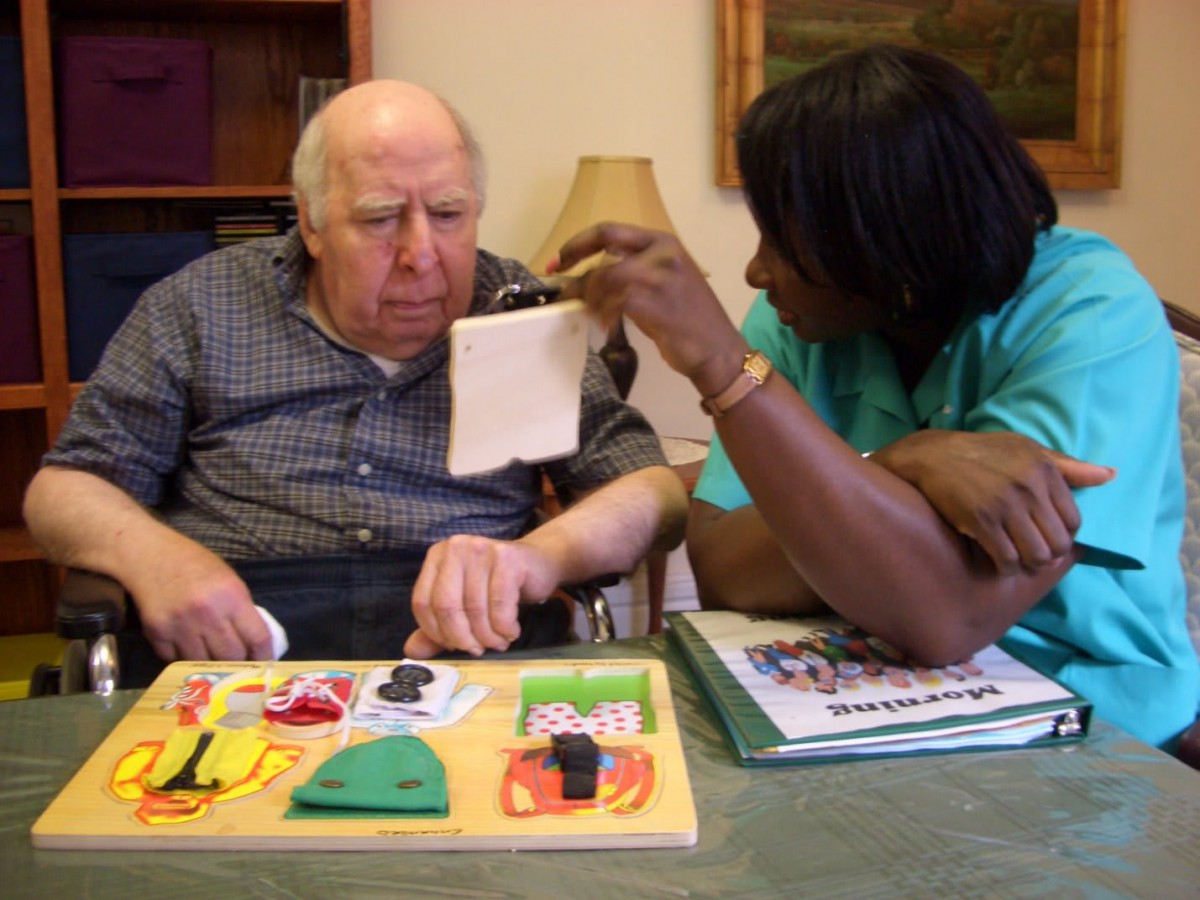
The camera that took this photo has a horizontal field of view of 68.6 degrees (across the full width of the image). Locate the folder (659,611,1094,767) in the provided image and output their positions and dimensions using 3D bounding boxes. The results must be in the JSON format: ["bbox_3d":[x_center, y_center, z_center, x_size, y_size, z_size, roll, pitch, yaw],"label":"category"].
[{"bbox_3d":[0.255,0.218,1.004,0.415,0.070,0.496,0,7,-16],"label":"folder"}]

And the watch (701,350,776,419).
[{"bbox_3d":[0.152,-0.073,0.966,0.058,0.034,0.058,-36,-10,3],"label":"watch"}]

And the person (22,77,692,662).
[{"bbox_3d":[-0.458,-0.058,1.621,1.229,1.068,0.828,-1,5,-17],"label":"person"}]

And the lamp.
[{"bbox_3d":[0.044,-0.499,2.537,0.424,0.692,0.396,-1,5,-12],"label":"lamp"}]
